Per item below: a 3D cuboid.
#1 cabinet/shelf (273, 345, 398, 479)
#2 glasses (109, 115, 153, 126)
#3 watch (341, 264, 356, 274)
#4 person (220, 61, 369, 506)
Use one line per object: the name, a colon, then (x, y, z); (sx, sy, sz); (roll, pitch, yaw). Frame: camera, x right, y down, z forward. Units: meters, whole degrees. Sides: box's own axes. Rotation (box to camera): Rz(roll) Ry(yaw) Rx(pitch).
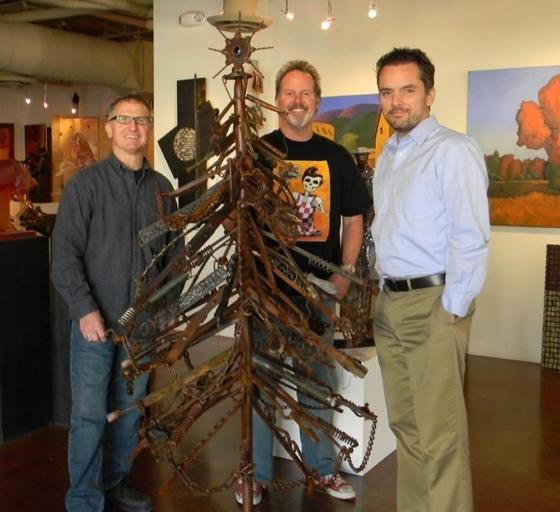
cabinet/shelf: (0.305, 0.724, 3.115); (0.581, 0.684, 0.598); (0, 2, 33)
glasses: (-0.605, -0.560, 2.332); (0.168, 0.042, 0.106); (-1, 8, -18)
watch: (0.303, 0.050, 2.535); (0.062, 0.053, 0.067); (1, 4, -13)
person: (0.095, 0.106, 2.517); (0.567, 1.975, 1.042); (2, 7, 9)
